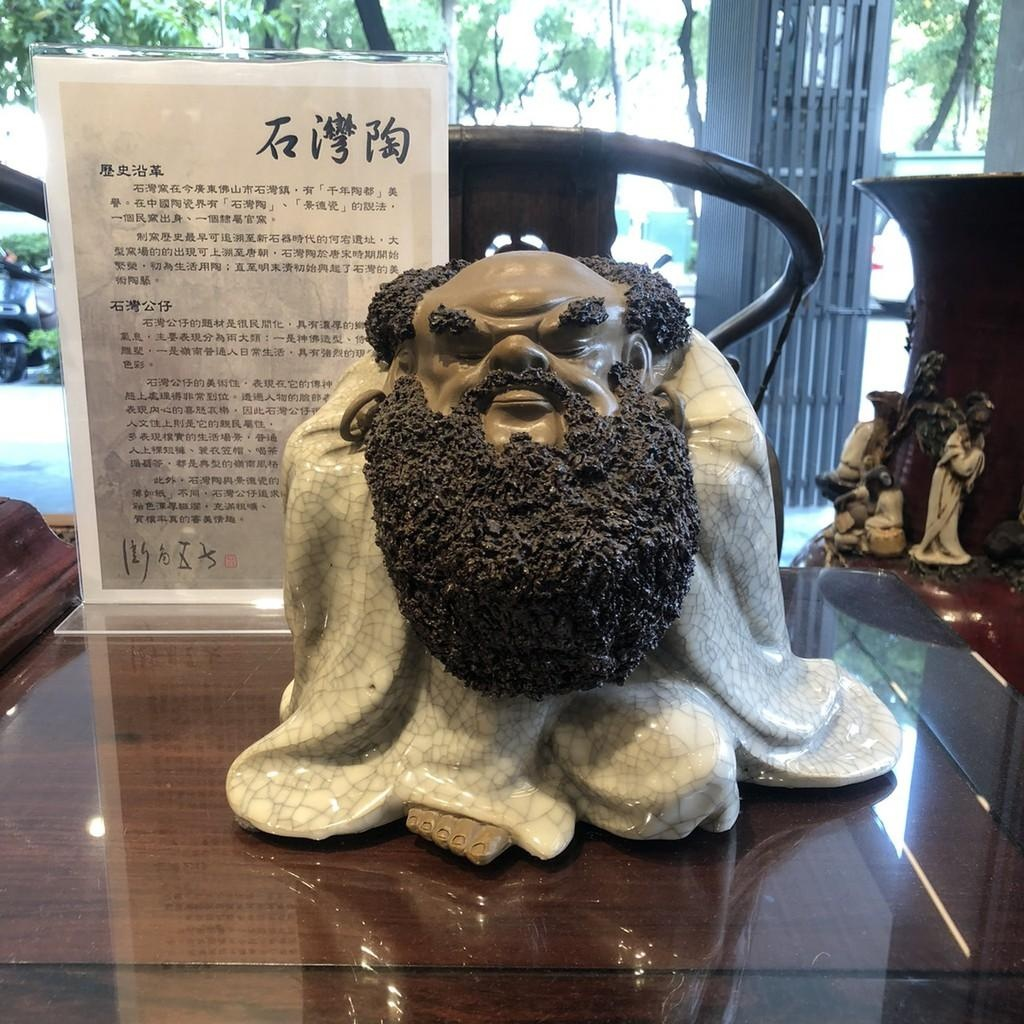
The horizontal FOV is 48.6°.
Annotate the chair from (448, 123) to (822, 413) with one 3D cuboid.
[{"bbox_3d":[0.454,-0.686,3.512,1.076,1.035,0.822,3,23,6],"label":"chair"}]
